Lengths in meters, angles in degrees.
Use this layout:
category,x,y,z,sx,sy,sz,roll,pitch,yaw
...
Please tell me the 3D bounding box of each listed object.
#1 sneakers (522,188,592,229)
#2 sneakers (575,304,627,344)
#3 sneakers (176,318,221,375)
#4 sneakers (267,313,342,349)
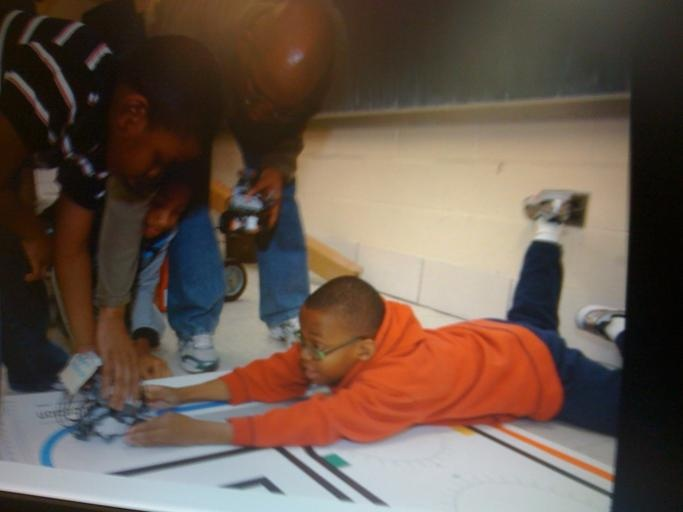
category,x,y,z,sx,sy,sz,roll,pitch,yaw
sneakers,0.883,-0.203,2.033,0.250,0.139,0.050,5,11,-6
sneakers,1.072,0.271,2.057,0.241,0.093,0.096,11,22,33
sneakers,-0.739,0.416,2.385,0.172,0.209,0.436,-1,6,-37
sneakers,-0.147,0.321,2.158,0.219,0.164,0.116,-8,-5,-3
